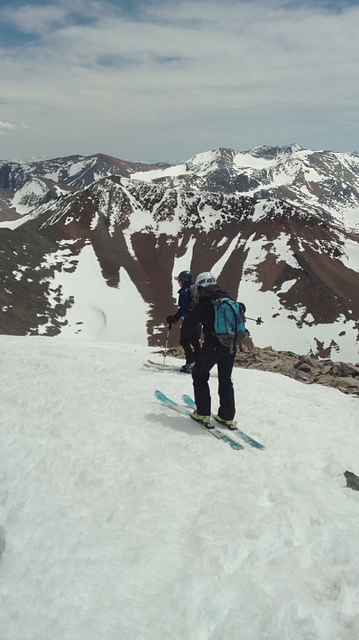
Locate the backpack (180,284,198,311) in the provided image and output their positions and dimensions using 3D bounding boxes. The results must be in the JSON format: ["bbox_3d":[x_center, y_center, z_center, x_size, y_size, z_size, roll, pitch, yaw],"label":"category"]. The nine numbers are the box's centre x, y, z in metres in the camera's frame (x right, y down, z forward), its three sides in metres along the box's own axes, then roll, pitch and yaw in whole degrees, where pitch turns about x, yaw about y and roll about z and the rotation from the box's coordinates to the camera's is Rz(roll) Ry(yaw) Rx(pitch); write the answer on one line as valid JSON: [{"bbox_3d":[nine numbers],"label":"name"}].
[{"bbox_3d":[0.225,-0.619,14.084,0.409,0.528,0.706,1,14,5],"label":"backpack"}]

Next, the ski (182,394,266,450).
[{"bbox_3d":[0.825,2.001,10.857,0.190,0.143,1.699,-21,41,-36],"label":"ski"}]

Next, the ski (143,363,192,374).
[{"bbox_3d":[-0.346,1.310,15.080,0.956,0.106,0.193,10,12,-26],"label":"ski"}]

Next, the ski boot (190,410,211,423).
[{"bbox_3d":[0.389,1.837,10.894,0.153,0.193,0.455,-1,19,-30],"label":"ski boot"}]

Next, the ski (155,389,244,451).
[{"bbox_3d":[0.369,1.942,10.725,0.236,0.171,1.632,-22,44,-36],"label":"ski"}]
